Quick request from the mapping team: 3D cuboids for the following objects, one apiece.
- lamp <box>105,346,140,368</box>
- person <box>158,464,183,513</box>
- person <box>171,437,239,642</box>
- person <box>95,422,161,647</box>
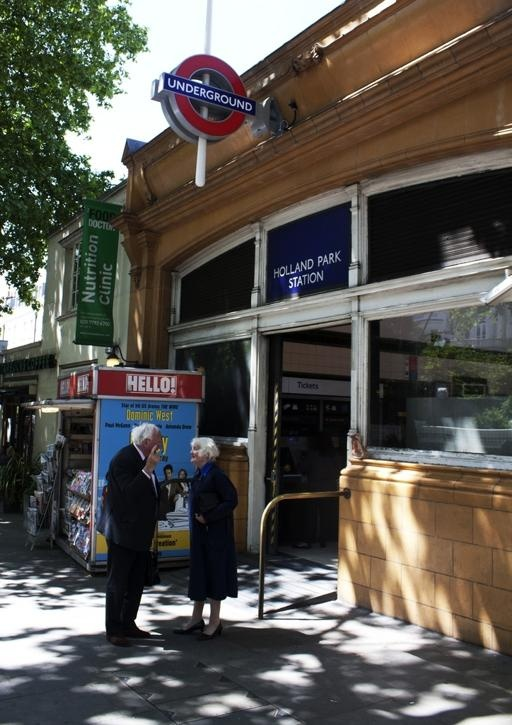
[{"bbox_3d":[-2.403,-0.112,9.885,0.673,0.471,0.309,2,-7,-21],"label":"lamp"},{"bbox_3d":[-1.075,1.654,6.673,0.257,0.770,0.205,-2,22,-17],"label":"person"},{"bbox_3d":[-0.340,1.319,4.221,0.385,1.476,0.263,2,-12,-4],"label":"person"},{"bbox_3d":[-0.928,1.221,3.992,0.403,1.562,0.578,4,-12,-12],"label":"person"}]
